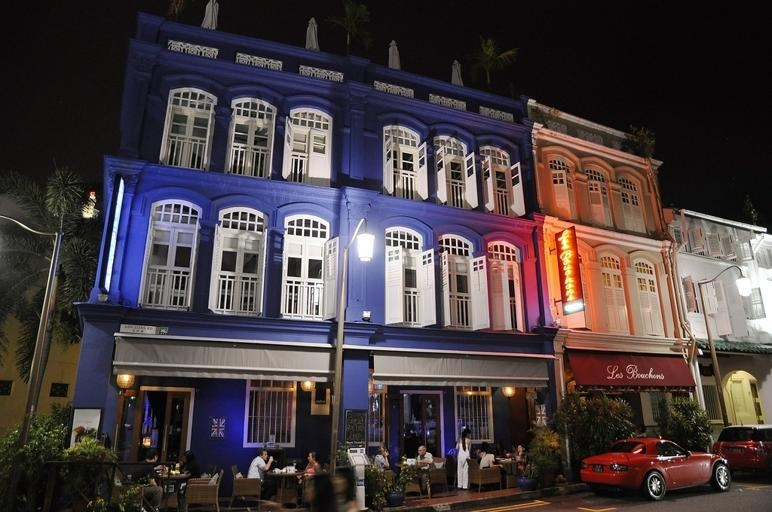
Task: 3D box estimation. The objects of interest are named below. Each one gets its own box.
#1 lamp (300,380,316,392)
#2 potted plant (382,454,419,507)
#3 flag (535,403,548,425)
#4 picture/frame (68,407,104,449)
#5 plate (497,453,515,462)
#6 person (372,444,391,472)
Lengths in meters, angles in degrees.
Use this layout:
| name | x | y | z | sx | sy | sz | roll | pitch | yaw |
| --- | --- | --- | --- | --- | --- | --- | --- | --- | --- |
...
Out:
| name | x | y | z | sx | sy | sz | roll | pitch | yaw |
| --- | --- | --- | --- | --- | --- | --- | --- | --- | --- |
| lamp | -3.656 | 5.970 | 23.814 | 0.653 | 0.432 | 0.650 | -5 | -19 | 10 |
| potted plant | 0.471 | 8.609 | 20.117 | 1.502 | 1.528 | 0.942 | 4 | 8 | -16 |
| flag | 7.199 | 7.317 | 23.974 | 0.345 | 0.957 | 0.676 | 3 | -19 | -14 |
| picture/frame | -10.557 | 6.008 | 18.078 | 1.351 | 1.821 | 0.187 | 3 | -21 | -19 |
| plate | 5.509 | 9.097 | 23.403 | 0.643 | 0.146 | 0.591 | 1 | -9 | -2 |
| person | -0.125 | 8.577 | 21.545 | 0.439 | 1.216 | 0.933 | 1 | 0 | -31 |
